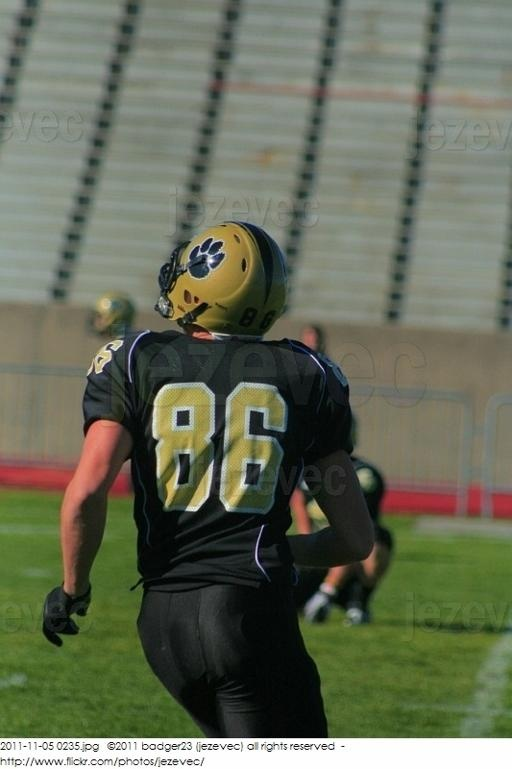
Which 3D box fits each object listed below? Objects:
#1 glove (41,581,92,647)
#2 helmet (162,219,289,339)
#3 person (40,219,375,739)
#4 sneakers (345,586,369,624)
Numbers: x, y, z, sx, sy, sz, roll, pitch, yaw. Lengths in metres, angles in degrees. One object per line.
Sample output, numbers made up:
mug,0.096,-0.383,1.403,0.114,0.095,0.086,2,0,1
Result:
glove,-0.544,0.625,2.591,0.092,0.168,0.155,10,2,35
helmet,-0.092,-0.275,2.498,0.306,0.248,0.371,-2,18,-40
person,-0.082,0.236,2.486,0.816,1.122,0.446,10,3,6
sneakers,0.499,1.077,4.693,0.096,0.168,0.125,13,-41,12
